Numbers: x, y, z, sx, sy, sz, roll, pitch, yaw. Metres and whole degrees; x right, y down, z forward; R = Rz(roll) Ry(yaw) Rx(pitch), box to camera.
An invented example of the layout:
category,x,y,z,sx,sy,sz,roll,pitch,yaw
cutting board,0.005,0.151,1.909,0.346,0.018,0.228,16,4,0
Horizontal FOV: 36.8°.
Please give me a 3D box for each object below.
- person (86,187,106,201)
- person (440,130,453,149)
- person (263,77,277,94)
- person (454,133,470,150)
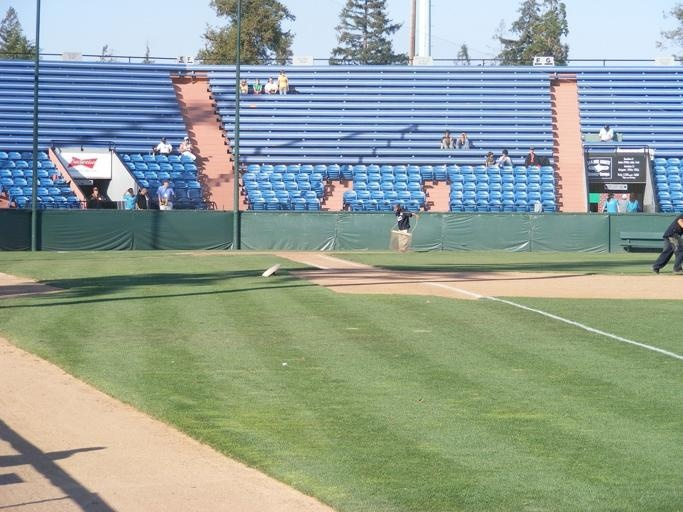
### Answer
category,x,y,z,sx,sy,sz,roll,pitch,yaw
person,-10.544,-2.649,43.786,0.586,0.793,0.694,-9,16,-26
person,5.000,-5.459,48.328,0.569,0.842,0.852,1,8,5
person,-3.527,-8.462,50.839,0.754,0.677,0.253,-2,-15,1
person,5.721,-5.425,48.419,0.664,0.748,0.880,1,8,5
